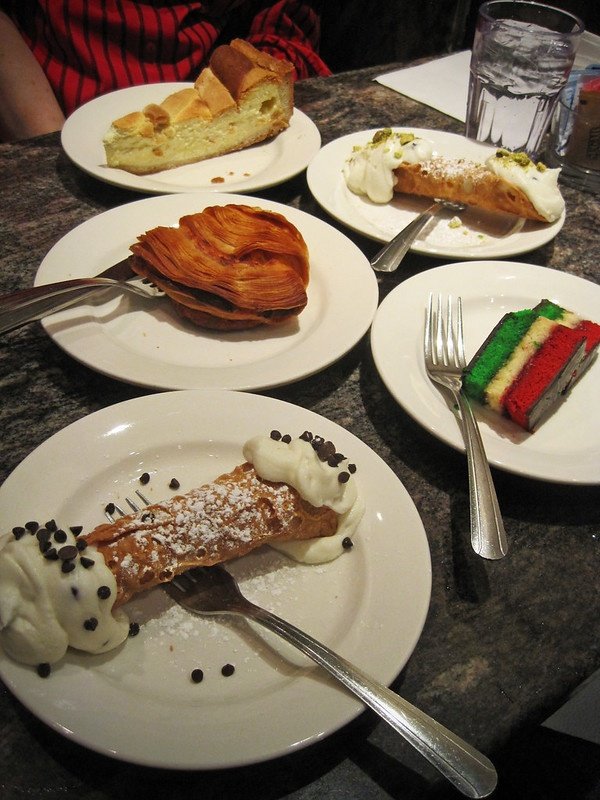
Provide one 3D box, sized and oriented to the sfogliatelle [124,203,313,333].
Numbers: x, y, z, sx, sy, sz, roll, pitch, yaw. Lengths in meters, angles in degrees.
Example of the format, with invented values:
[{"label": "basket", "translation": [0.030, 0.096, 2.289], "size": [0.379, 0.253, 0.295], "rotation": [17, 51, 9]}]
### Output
[{"label": "sfogliatelle", "translation": [-0.162, -0.268, 1.480], "size": [0.328, 0.103, 0.259], "rotation": [9, 44, -1]}]
